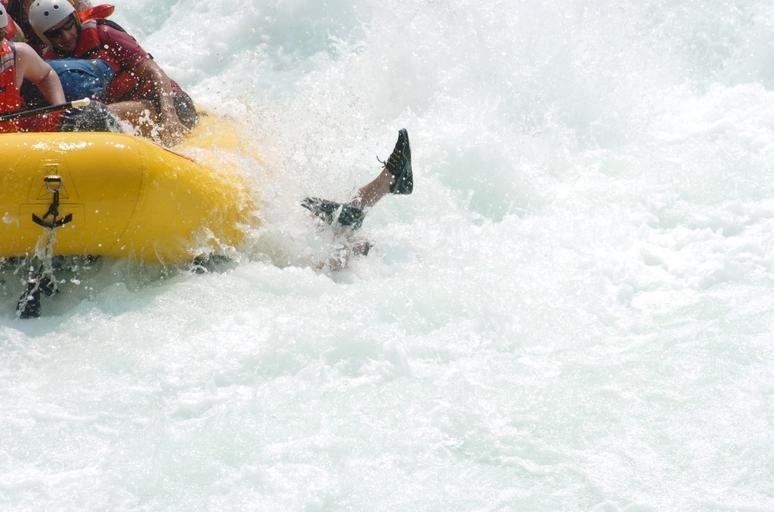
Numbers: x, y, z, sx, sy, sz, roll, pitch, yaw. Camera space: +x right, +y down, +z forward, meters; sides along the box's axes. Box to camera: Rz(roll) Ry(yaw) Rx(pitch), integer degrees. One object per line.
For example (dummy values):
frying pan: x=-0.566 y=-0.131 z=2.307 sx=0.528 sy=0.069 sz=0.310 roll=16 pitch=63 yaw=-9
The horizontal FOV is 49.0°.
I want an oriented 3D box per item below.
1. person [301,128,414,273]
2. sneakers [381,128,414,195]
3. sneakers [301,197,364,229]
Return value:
person: x=-0.281 y=-0.456 z=7.500 sx=1.436 sy=0.609 sz=0.443 roll=-44 pitch=76 yaw=-5
sneakers: x=0.052 y=-0.865 z=7.640 sx=0.302 sy=0.571 sz=0.235 roll=-10 pitch=20 yaw=-36
sneakers: x=-0.393 y=-0.335 z=7.211 sx=0.236 sy=0.606 sz=0.216 roll=-1 pitch=90 yaw=23
